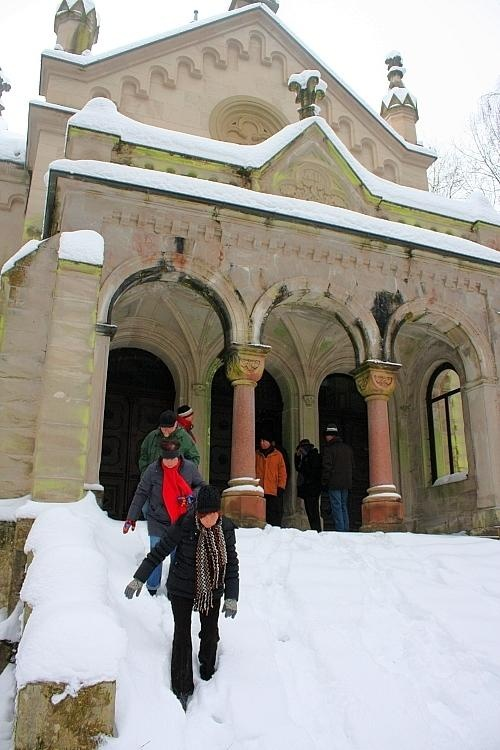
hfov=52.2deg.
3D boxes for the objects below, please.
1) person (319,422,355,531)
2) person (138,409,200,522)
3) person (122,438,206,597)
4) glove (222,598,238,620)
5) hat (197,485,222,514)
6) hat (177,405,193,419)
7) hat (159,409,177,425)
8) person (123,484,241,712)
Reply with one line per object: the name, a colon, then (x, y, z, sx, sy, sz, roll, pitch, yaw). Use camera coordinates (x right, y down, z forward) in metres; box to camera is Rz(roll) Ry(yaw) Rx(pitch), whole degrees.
person: (1.335, 1.567, 7.784, 0.561, 1.404, 0.573, 10, -2, 8)
person: (-0.831, 1.038, 4.972, 0.591, 1.383, 0.443, 3, 1, 8)
person: (-0.613, 1.099, 3.829, 0.610, 1.194, 0.442, 1, 5, -32)
glove: (-0.104, 1.304, 2.813, 0.097, 0.131, 0.048, 0, 8, 3)
hat: (-0.227, 0.705, 2.915, 0.118, 0.117, 0.172, 2, 1, -7)
hat: (-0.780, 0.454, 6.087, 0.167, 0.141, 0.167, 0, 11, 19)
hat: (-0.664, 0.338, 4.210, 0.098, 0.075, 0.130, 4, 21, -4)
person: (-0.346, 1.152, 2.863, 0.588, 1.151, 0.474, 10, -2, 0)
